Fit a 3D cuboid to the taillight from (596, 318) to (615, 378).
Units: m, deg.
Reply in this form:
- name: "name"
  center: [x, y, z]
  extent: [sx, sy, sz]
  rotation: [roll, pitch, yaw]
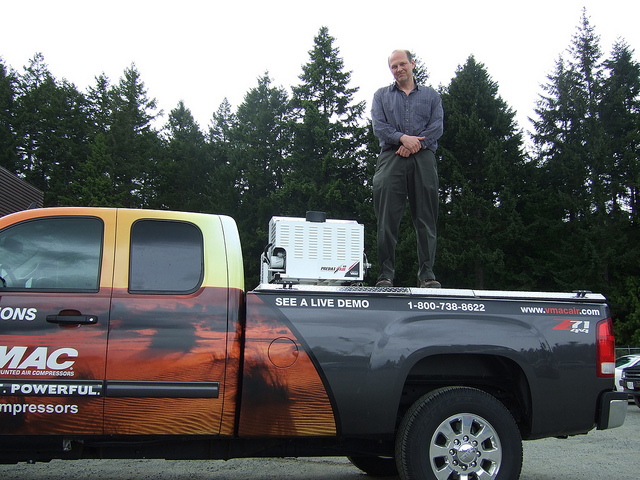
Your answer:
- name: "taillight"
  center: [2.497, 0.941, 4.793]
  extent: [0.251, 0.511, 0.111]
  rotation: [4, -8, -38]

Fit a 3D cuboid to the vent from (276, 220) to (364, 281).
- name: "vent"
  center: [0.010, 0.294, 7.337]
  extent: [1.191, 0.834, 0.745]
  rotation: [-1, -32, 5]

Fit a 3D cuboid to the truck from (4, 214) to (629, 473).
- name: "truck"
  center: [-0.168, 0.741, 5.246]
  extent: [5.085, 1.984, 2.255]
  rotation: [8, -19, -11]
